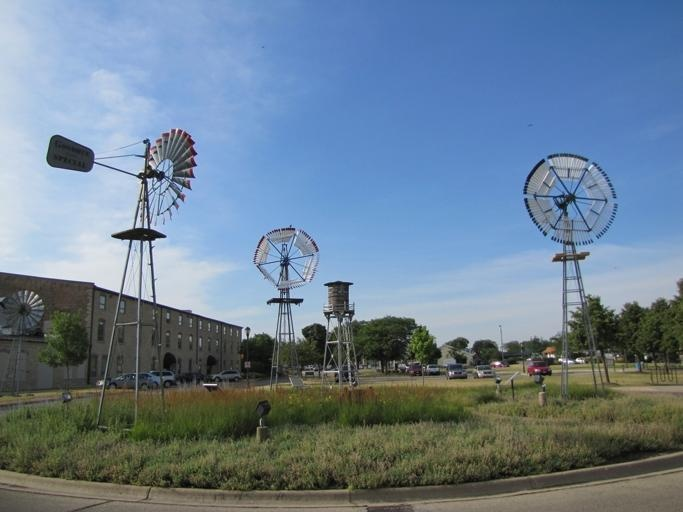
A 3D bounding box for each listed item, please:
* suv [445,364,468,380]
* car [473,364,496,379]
[{"bbox_3d":[10.270,10.634,55.251,0.970,0.918,2.171,-2,-17,0],"label":"suv"},{"bbox_3d":[12.651,10.558,55.094,1.024,0.910,2.055,-1,-16,-6],"label":"car"}]
